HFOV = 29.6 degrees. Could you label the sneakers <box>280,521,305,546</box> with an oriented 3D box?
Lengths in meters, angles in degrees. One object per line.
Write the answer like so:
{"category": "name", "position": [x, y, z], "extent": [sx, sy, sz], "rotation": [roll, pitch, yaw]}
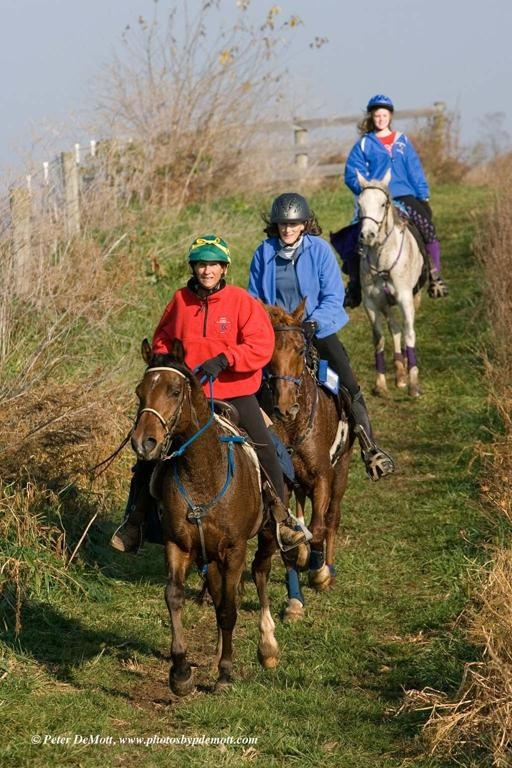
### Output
{"category": "sneakers", "position": [0.229, 1.001, 6.539], "extent": [0.132, 0.058, 0.185], "rotation": [-5, 20, -11]}

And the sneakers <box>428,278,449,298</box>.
{"category": "sneakers", "position": [2.596, -1.317, 13.617], "extent": [0.226, 0.265, 0.291], "rotation": [-7, -21, 3]}

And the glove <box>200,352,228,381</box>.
{"category": "glove", "position": [-0.250, -0.112, 5.939], "extent": [0.195, 0.133, 0.081], "rotation": [-35, 19, -4]}

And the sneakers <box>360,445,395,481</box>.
{"category": "sneakers", "position": [1.035, 0.658, 8.486], "extent": [0.137, 0.218, 0.369], "rotation": [39, 8, -42]}

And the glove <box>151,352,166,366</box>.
{"category": "glove", "position": [-0.521, -0.126, 5.209], "extent": [0.065, 0.033, 0.080], "rotation": [-1, 51, 8]}

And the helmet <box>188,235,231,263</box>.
{"category": "helmet", "position": [-0.290, -0.830, 6.001], "extent": [0.242, 0.167, 0.299], "rotation": [-2, 11, -5]}

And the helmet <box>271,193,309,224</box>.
{"category": "helmet", "position": [0.265, -1.367, 7.580], "extent": [0.226, 0.146, 0.293], "rotation": [2, 10, 10]}

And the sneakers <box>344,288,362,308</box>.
{"category": "sneakers", "position": [1.387, -1.156, 13.343], "extent": [0.153, 0.272, 0.415], "rotation": [0, -8, 7]}

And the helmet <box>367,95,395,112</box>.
{"category": "helmet", "position": [1.548, -3.493, 12.105], "extent": [0.283, 0.149, 0.305], "rotation": [1, 11, 8]}

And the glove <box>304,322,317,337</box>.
{"category": "glove", "position": [0.424, -0.426, 7.504], "extent": [0.102, 0.098, 0.118], "rotation": [0, -6, 0]}

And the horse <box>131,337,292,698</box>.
{"category": "horse", "position": [-0.284, 0.837, 5.753], "extent": [0.575, 2.293, 1.773], "rotation": [3, 12, 16]}
